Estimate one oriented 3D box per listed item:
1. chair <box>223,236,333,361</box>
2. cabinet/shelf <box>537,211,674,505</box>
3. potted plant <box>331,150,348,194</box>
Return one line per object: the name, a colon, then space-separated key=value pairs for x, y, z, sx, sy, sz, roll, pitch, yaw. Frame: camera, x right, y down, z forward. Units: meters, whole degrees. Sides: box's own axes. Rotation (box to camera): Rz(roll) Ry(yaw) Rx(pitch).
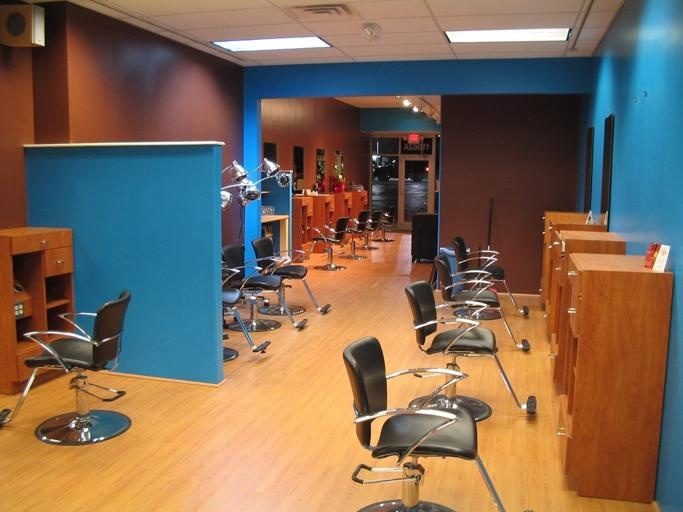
chair: x=-1.097 y=0.455 z=6.642 sx=1.503 sy=1.240 sz=1.301 roll=4 pitch=9 yaw=15
cabinet/shelf: x=1.795 y=0.717 z=3.345 sx=0.509 sy=1.143 sz=1.925 roll=1 pitch=10 yaw=17
potted plant: x=-0.002 y=-2.428 z=14.365 sx=0.514 sy=1.268 sz=0.547 roll=-13 pitch=15 yaw=-35
